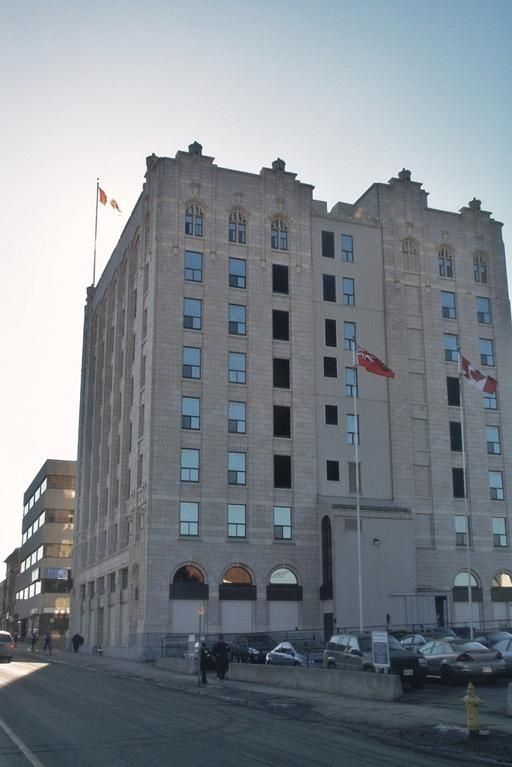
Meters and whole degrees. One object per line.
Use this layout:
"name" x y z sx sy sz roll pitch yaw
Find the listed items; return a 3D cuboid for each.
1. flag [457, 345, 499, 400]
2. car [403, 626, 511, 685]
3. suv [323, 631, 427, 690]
"flag" 13.936 -0.574 53.467 3.210 3.591 0.408 16 -26 -15
"car" 6.501 8.922 27.366 2.724 1.407 3.751 -6 -21 10
"suv" 3.606 8.992 27.292 1.798 1.481 3.375 10 -24 -26
